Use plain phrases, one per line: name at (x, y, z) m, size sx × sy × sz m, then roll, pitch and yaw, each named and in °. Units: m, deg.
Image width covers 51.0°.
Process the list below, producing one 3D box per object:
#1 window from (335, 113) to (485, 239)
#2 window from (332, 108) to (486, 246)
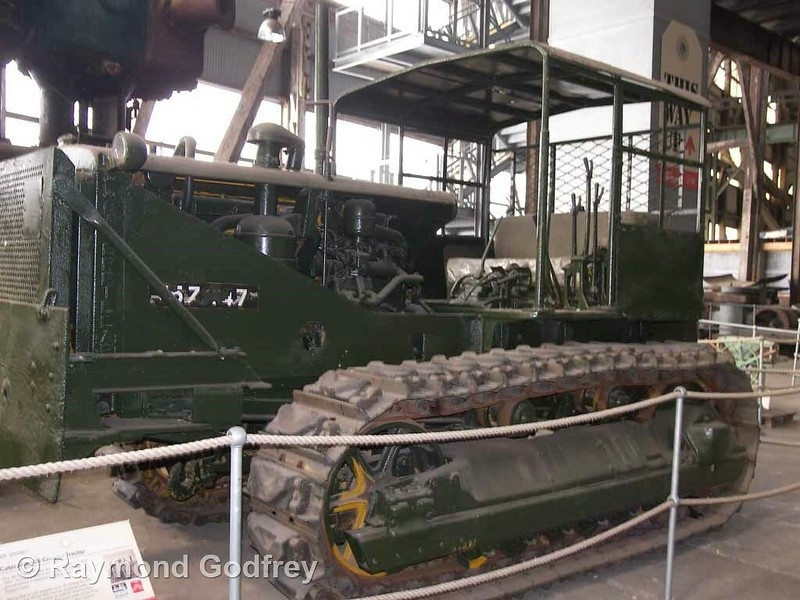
window at (0.309, -1.232, 8.426) m, size 0.918 × 0.568 × 1.007 m, roll 14°, pitch 30°, yaw 2°
window at (0.049, -1.299, 9.205) m, size 2.150 × 1.623 × 2.271 m, roll 1°, pitch 7°, yaw -6°
